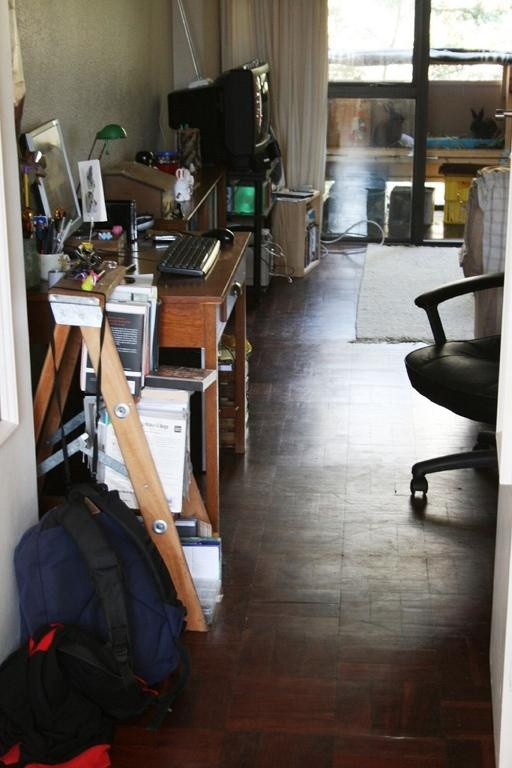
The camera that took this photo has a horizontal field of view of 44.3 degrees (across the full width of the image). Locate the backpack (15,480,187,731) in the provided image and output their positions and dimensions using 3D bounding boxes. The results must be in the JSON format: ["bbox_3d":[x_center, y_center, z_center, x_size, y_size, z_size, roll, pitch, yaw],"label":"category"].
[{"bbox_3d":[-0.312,0.449,1.238,0.308,0.439,0.248,-19,1,24],"label":"backpack"}]

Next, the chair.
[{"bbox_3d":[0.702,0.024,2.197,0.361,0.754,0.801,2,15,13],"label":"chair"}]

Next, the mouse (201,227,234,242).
[{"bbox_3d":[-0.143,-0.552,2.322,0.117,0.044,0.066,10,26,17],"label":"mouse"}]

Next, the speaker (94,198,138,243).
[{"bbox_3d":[-0.478,-0.547,2.119,0.168,0.163,0.092,0,10,4],"label":"speaker"}]

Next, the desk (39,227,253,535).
[{"bbox_3d":[-0.303,-0.014,1.656,0.352,0.764,0.858,0,21,0],"label":"desk"}]

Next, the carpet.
[{"bbox_3d":[1.064,-0.610,4.273,0.499,0.015,1.276,1,29,9],"label":"carpet"}]

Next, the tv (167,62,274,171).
[{"bbox_3d":[-0.171,-1.879,4.522,0.699,0.772,0.749,2,28,7],"label":"tv"}]
